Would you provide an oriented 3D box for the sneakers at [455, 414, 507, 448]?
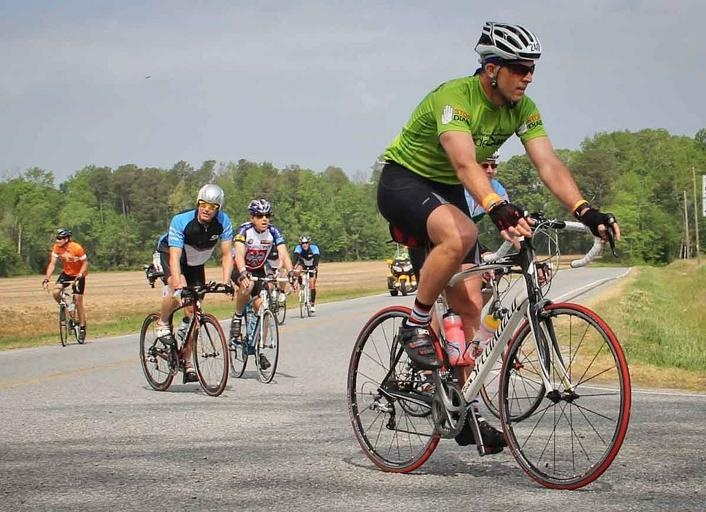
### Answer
[{"bbox_3d":[0.856,1.275,5.120,0.460,0.230,0.158,-4,4,27],"label":"sneakers"}]

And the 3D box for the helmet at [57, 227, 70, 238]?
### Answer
[{"bbox_3d":[-6.415,-0.498,15.513,0.298,0.224,0.438,-7,-1,-23],"label":"helmet"}]

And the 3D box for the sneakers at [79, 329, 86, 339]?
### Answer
[{"bbox_3d":[-5.878,1.682,15.157,0.142,0.282,0.101,-7,-1,3],"label":"sneakers"}]

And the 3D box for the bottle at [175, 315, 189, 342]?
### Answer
[{"bbox_3d":[-2.162,0.945,9.038,0.162,0.327,0.474,16,-7,-12],"label":"bottle"}]

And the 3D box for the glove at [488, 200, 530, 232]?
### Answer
[{"bbox_3d":[0.972,-0.262,4.455,0.231,0.203,0.203,-7,-1,17],"label":"glove"}]

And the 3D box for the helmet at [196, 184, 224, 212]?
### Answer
[{"bbox_3d":[-1.739,-0.743,8.705,0.277,0.338,0.344,15,-8,-22],"label":"helmet"}]

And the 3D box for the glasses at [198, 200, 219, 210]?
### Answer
[{"bbox_3d":[-1.765,-0.624,8.572,0.261,0.113,0.172,-7,-1,-25],"label":"glasses"}]

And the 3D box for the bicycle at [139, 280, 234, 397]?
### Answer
[{"bbox_3d":[-2.134,1.051,8.728,0.604,1.390,1.823,-6,-1,-41],"label":"bicycle"}]

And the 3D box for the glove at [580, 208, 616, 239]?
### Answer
[{"bbox_3d":[1.610,-0.234,4.644,0.212,0.177,0.113,30,46,22],"label":"glove"}]

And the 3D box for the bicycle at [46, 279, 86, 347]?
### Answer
[{"bbox_3d":[-6.156,1.218,15.217,0.477,1.275,0.971,-7,-1,-23],"label":"bicycle"}]

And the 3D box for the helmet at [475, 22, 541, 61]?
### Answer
[{"bbox_3d":[1.070,-1.491,4.867,0.446,0.246,0.344,23,40,30],"label":"helmet"}]

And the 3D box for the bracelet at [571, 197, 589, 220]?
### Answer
[{"bbox_3d":[1.529,-0.323,4.748,0.104,0.077,0.135,-12,-20,-46],"label":"bracelet"}]

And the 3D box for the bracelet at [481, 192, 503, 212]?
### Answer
[{"bbox_3d":[0.871,-0.347,4.491,0.121,0.119,0.120,2,24,-39],"label":"bracelet"}]

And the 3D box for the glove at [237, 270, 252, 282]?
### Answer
[{"bbox_3d":[-1.401,0.257,9.007,0.174,0.180,0.134,0,-16,-24],"label":"glove"}]
